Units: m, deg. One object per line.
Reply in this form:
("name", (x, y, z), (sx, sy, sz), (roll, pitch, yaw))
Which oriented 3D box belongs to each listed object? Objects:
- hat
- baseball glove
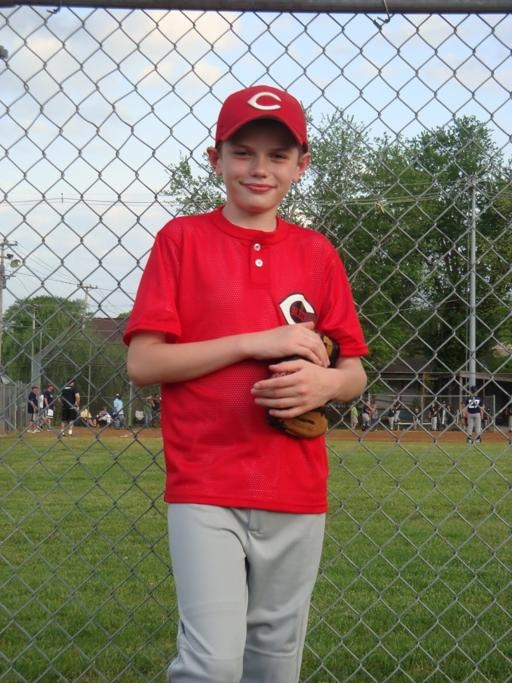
("hat", (0.023, -0.570, 1.812), (0.236, 0.137, 0.275), (-1, 5, 0))
("baseball glove", (0.100, 0.106, 1.775), (0.213, 0.231, 0.094), (13, -4, -32))
